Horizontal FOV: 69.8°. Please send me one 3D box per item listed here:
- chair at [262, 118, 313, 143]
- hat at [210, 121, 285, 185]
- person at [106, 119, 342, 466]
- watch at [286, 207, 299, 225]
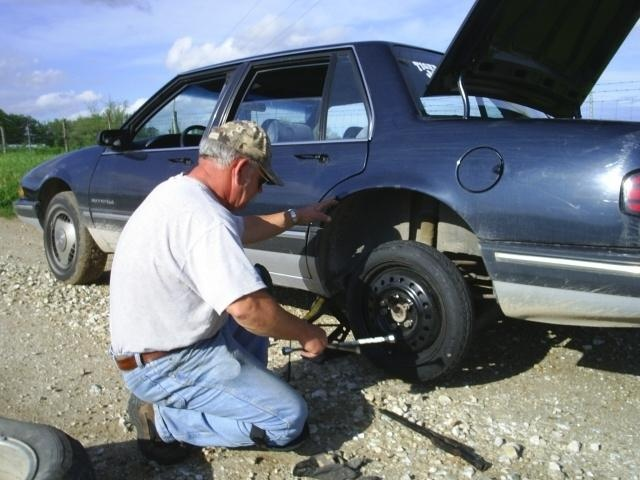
[{"bbox_3d":[-0.248,-0.784,3.347,0.304,0.113,0.189,3,20,20],"label":"chair"},{"bbox_3d":[-0.355,-0.482,2.322,0.399,0.241,0.282,21,13,-11],"label":"hat"},{"bbox_3d":[-0.517,0.301,2.278,0.913,1.700,0.700,-11,23,-34],"label":"person"},{"bbox_3d":[-0.177,-0.163,3.011,0.060,0.102,0.101,-22,43,-4],"label":"watch"}]
